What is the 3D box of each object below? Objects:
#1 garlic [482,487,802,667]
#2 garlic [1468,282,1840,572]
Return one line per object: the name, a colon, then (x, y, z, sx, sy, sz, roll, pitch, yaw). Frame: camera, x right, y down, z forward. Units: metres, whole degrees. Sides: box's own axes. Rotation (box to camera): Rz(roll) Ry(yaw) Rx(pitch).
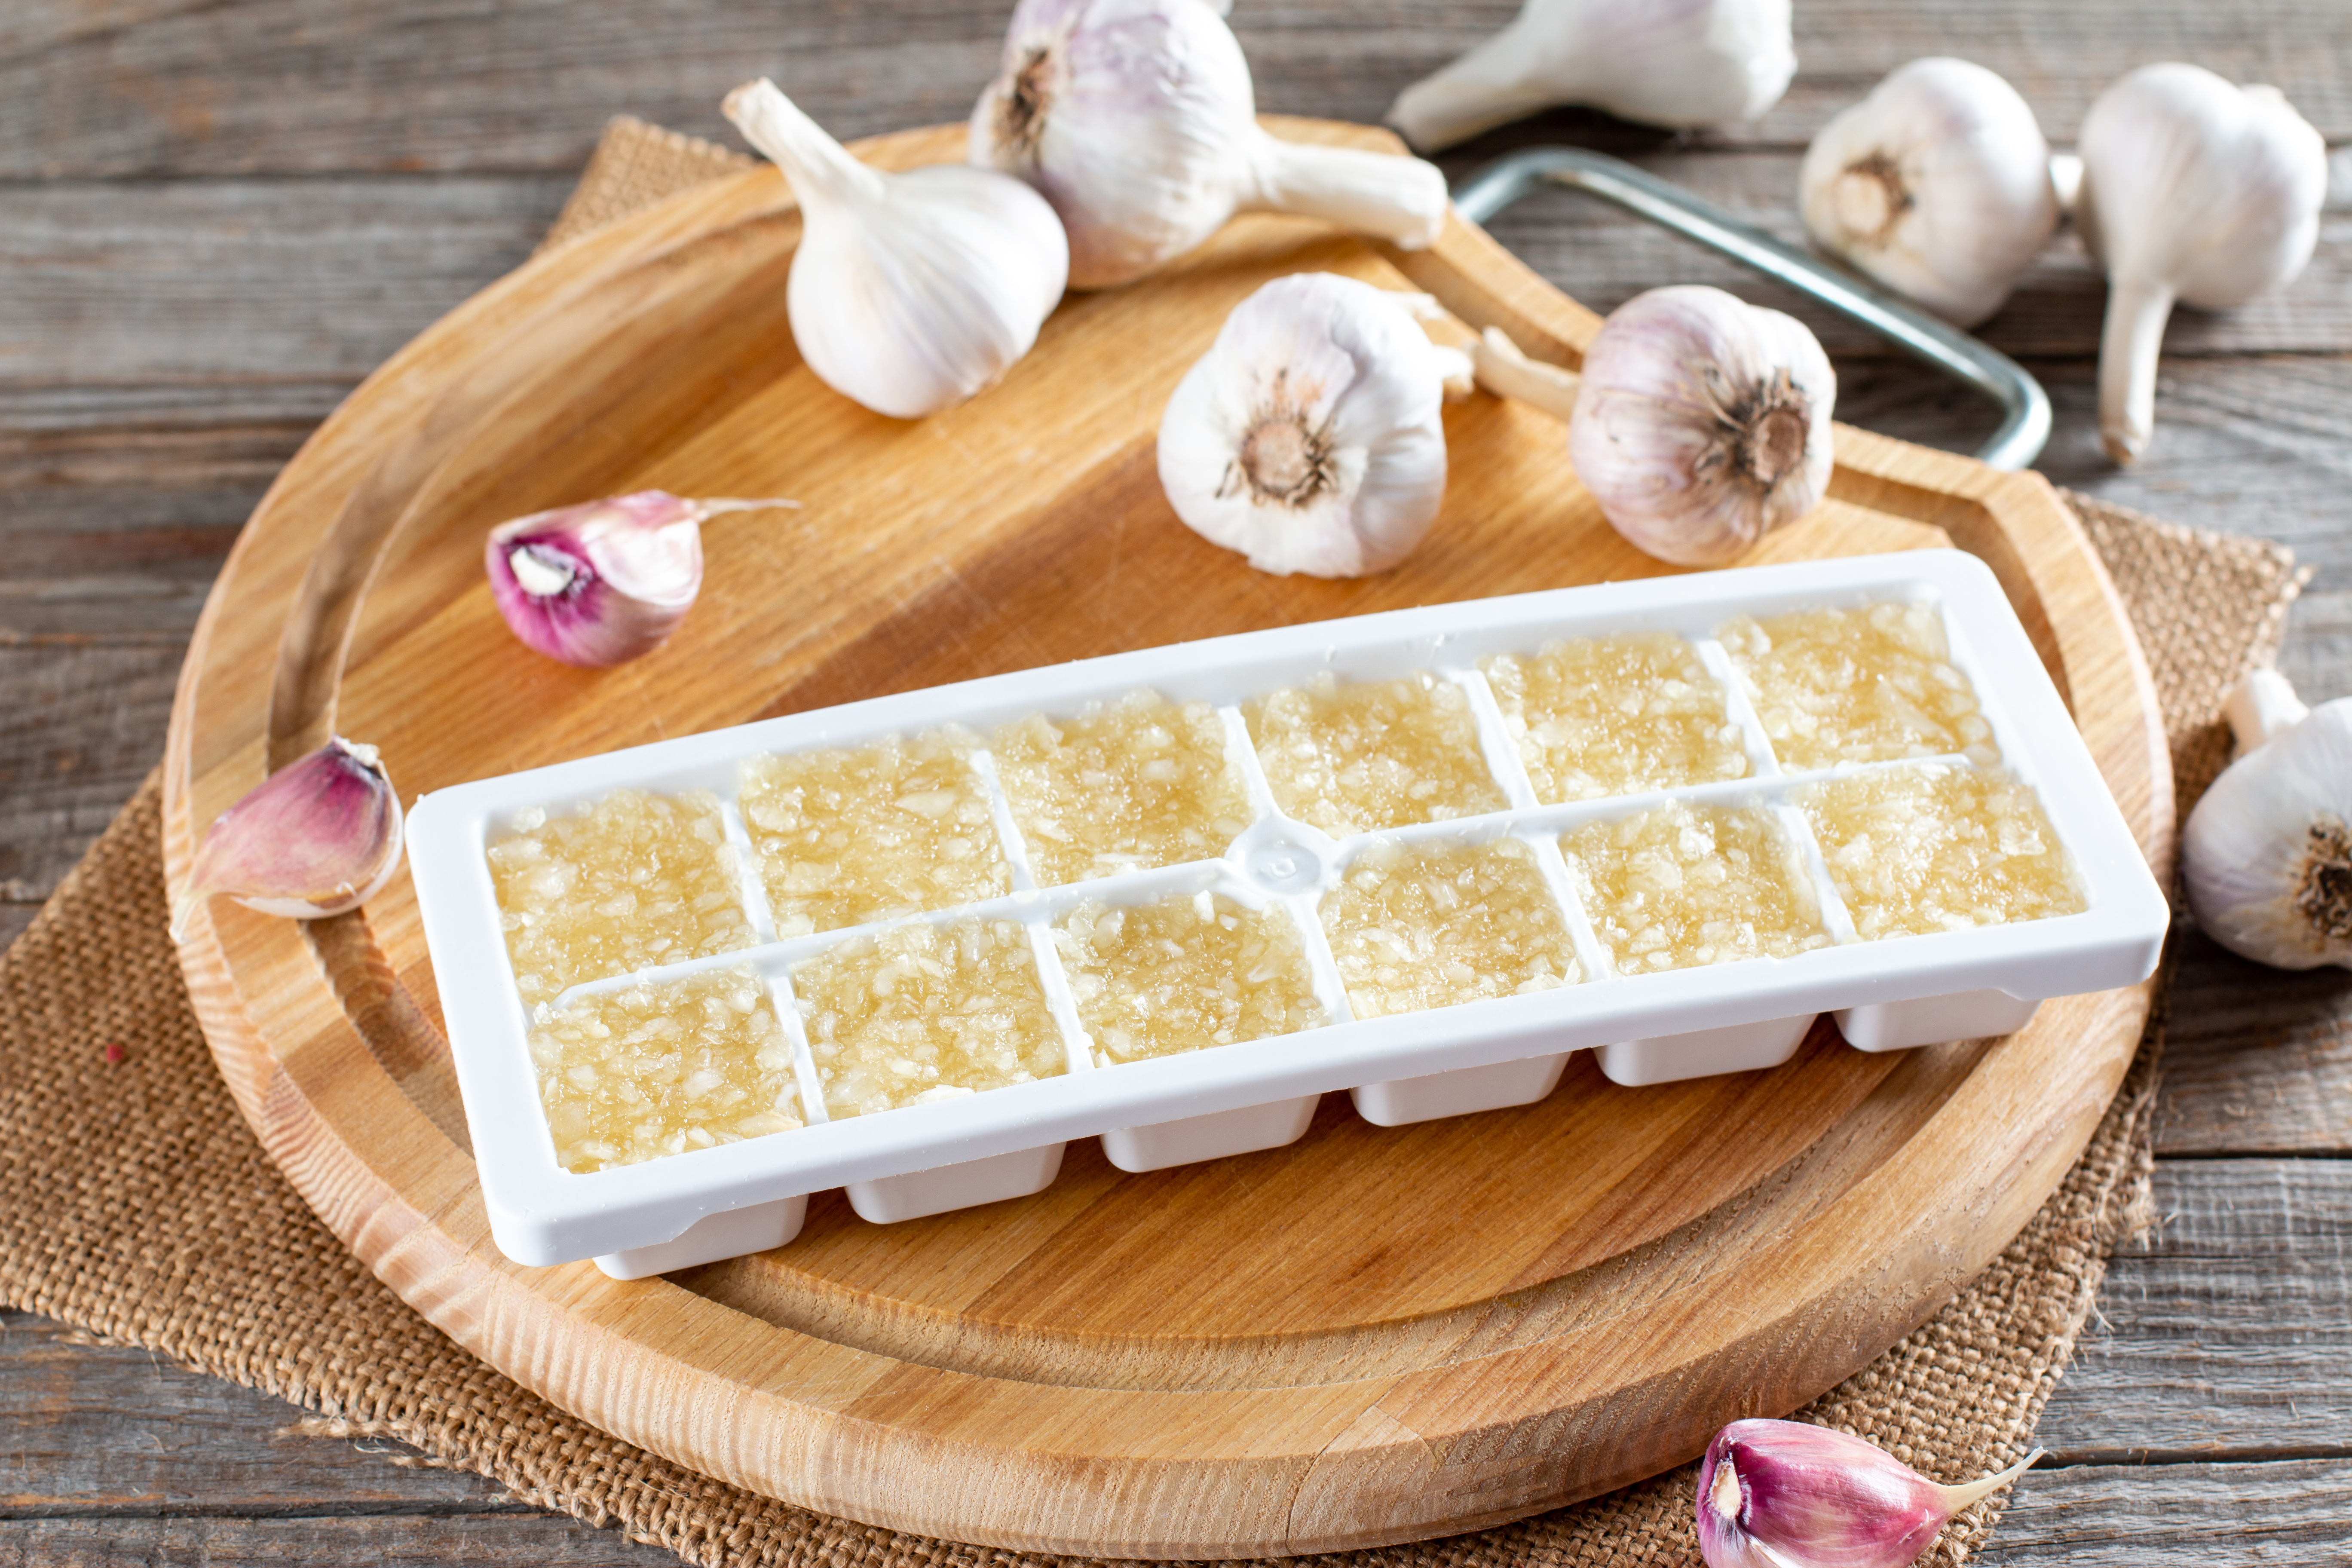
garlic: (-0.658, -0.239, 2.806, 0.163, 0.120, 0.259, 39, 42, 23)
garlic: (0.557, -0.443, 2.877, 0.234, 0.256, 0.391, -33, 34, -31)
